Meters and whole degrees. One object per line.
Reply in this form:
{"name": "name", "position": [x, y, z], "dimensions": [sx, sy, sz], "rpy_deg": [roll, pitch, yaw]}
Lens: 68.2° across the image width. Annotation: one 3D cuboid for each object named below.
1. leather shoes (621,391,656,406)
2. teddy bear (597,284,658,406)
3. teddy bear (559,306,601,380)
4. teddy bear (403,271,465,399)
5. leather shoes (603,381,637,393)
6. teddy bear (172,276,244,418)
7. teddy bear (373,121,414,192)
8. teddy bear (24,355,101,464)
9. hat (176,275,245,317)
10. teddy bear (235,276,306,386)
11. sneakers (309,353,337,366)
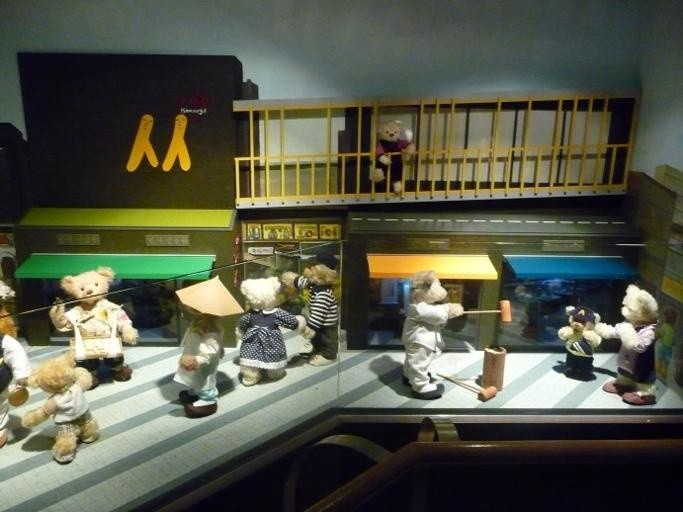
{"name": "leather shoes", "position": [1.655, 0.799, 2.813], "dimensions": [0.168, 0.046, 0.078], "rpy_deg": [2, 10, 2]}
{"name": "teddy bear", "position": [1.624, 0.491, 2.857], "dimensions": [0.330, 0.669, 0.229], "rpy_deg": [5, 12, 27]}
{"name": "teddy bear", "position": [1.396, 0.497, 2.913], "dimensions": [0.262, 0.432, 0.116], "rpy_deg": [-3, 11, -17]}
{"name": "teddy bear", "position": [0.524, 0.423, 2.803], "dimensions": [0.345, 0.704, 0.218], "rpy_deg": [-1, 10, -3]}
{"name": "leather shoes", "position": [1.575, 0.748, 2.878], "dimensions": [0.187, 0.057, 0.071], "rpy_deg": [-5, -20, 22]}
{"name": "teddy bear", "position": [-0.555, 0.370, 2.111], "dimensions": [0.126, 0.550, 0.324], "rpy_deg": [7, 12, 33]}
{"name": "teddy bear", "position": [0.340, -0.678, 3.411], "dimensions": [0.308, 0.437, 0.240], "rpy_deg": [-7, 30, -15]}
{"name": "teddy bear", "position": [-1.035, 0.569, 1.902], "dimensions": [0.184, 0.379, 0.195], "rpy_deg": [-9, 14, -40]}
{"name": "hat", "position": [-0.548, 0.185, 2.119], "dimensions": [0.189, 0.072, 0.184], "rpy_deg": [24, 14, 14]}
{"name": "teddy bear", "position": [-0.298, 0.319, 2.267], "dimensions": [0.371, 0.466, 0.130], "rpy_deg": [-9, 14, -42]}
{"name": "sneakers", "position": [-0.087, 0.498, 2.426], "dimensions": [0.123, 0.043, 0.043], "rpy_deg": [1, 1, -34]}
